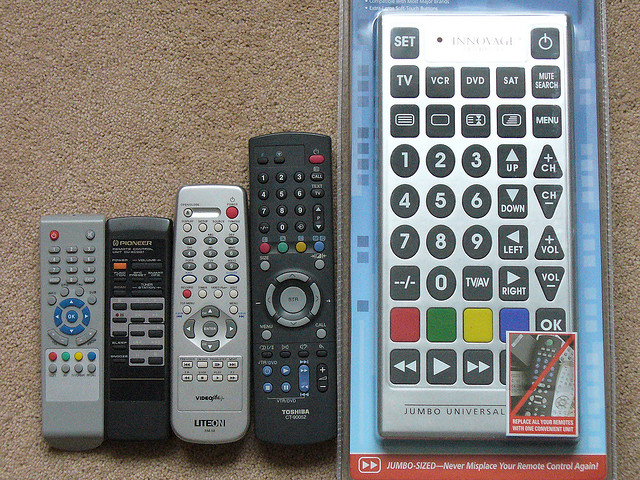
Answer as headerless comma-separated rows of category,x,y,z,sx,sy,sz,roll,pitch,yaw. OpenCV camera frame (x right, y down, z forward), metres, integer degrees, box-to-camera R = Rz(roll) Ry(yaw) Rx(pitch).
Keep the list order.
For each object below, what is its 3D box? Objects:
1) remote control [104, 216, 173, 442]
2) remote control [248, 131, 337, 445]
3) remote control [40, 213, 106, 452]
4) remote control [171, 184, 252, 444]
remote control,-0.178,0.085,0.833,0.067,0.213,0.049,-2,7,8
remote control,-0.026,0.045,0.831,0.084,0.298,0.060,-3,7,1
remote control,-0.240,0.090,0.836,0.066,0.227,0.042,-2,7,2
remote control,-0.107,0.070,0.832,0.084,0.248,0.053,-3,7,-1
